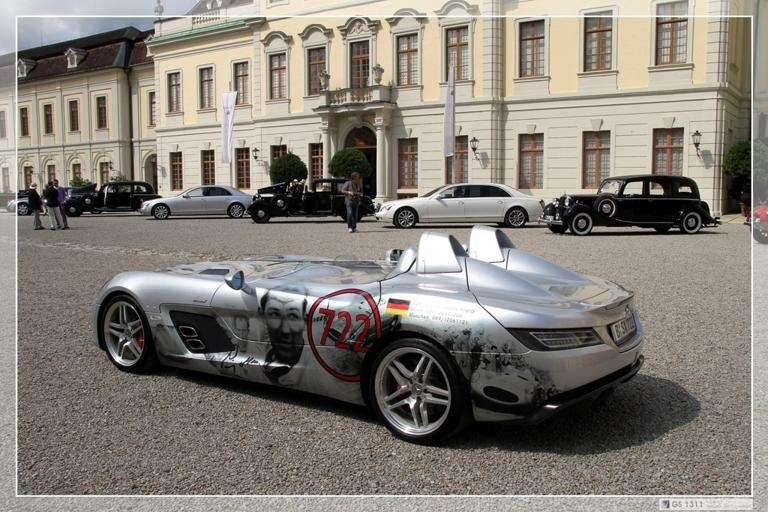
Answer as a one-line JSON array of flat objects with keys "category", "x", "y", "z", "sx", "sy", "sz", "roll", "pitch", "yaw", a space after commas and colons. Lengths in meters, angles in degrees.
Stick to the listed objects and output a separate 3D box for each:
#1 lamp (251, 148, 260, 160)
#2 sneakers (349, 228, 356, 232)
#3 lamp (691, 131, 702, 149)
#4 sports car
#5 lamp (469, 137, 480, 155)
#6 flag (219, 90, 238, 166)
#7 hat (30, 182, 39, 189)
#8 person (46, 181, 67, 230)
[{"category": "lamp", "x": -7.996, "y": -6.376, "z": 38.796, "sx": 0.245, "sy": 0.783, "sz": 0.605, "roll": -9, "pitch": 13, "yaw": -43}, {"category": "sneakers", "x": -0.997, "y": -0.840, "z": 19.803, "sx": 0.106, "sy": 0.100, "sz": 0.251, "roll": 4, "pitch": 1, "yaw": 23}, {"category": "lamp", "x": 13.589, "y": -5.039, "z": 26.834, "sx": 0.386, "sy": 0.763, "sz": 0.339, "roll": 5, "pitch": 10, "yaw": 27}, {"category": "sports car", "x": -0.349, "y": 0.487, "z": 5.672, "sx": 5.068, "sy": 1.562, "sz": 1.371, "roll": 4, "pitch": 10, "yaw": 23}, {"category": "lamp", "x": 4.560, "y": -5.505, "z": 31.214, "sx": 0.495, "sy": 0.849, "sz": 0.486, "roll": 4, "pitch": 10, "yaw": 23}, {"category": "flag", "x": -9.007, "y": -7.522, "z": 36.063, "sx": 0.716, "sy": 4.048, "sz": 1.585, "roll": -2, "pitch": 9, "yaw": -11}, {"category": "hat", "x": -11.597, "y": -2.337, "z": 20.542, "sx": 0.289, "sy": 0.139, "sz": 0.329, "roll": -7, "pitch": -3, "yaw": -35}, {"category": "person", "x": -11.102, "y": -1.690, "z": 20.994, "sx": 0.599, "sy": 1.636, "sz": 2.114, "roll": -5, "pitch": 11, "yaw": -27}]
